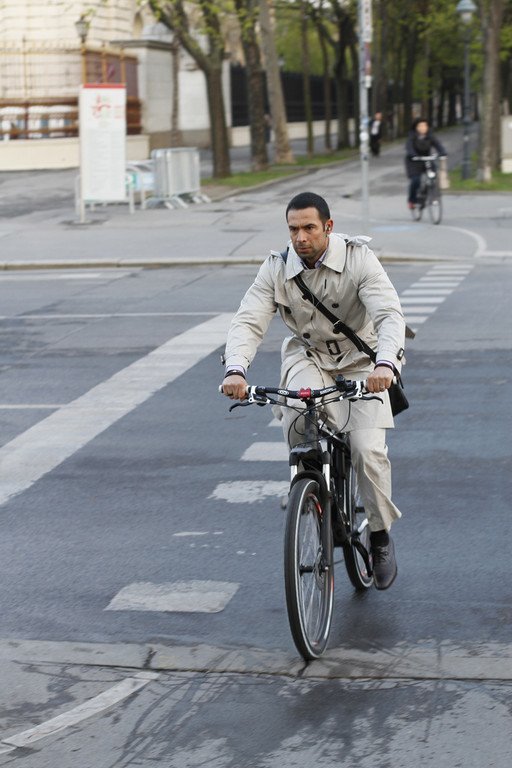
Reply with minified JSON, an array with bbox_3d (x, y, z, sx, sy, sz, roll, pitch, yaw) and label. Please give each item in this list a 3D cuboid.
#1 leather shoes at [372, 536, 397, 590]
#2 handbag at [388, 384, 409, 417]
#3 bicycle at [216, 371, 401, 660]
[{"bbox_3d":[0.519,0.724,4.267,0.085,0.091,0.242,-13,43,18],"label":"leather shoes"},{"bbox_3d":[0.579,0.061,4.166,0.044,0.116,0.093,-16,-1,-40],"label":"handbag"},{"bbox_3d":[0.246,0.446,3.890,0.540,1.005,1.178,0,9,8],"label":"bicycle"}]
